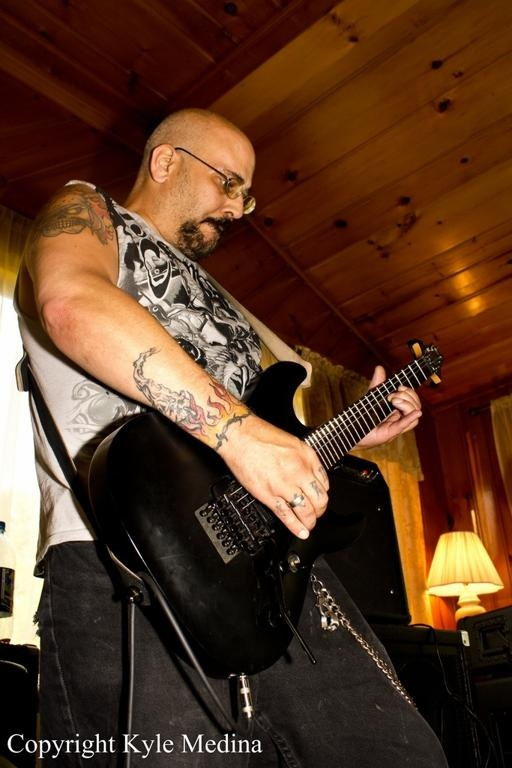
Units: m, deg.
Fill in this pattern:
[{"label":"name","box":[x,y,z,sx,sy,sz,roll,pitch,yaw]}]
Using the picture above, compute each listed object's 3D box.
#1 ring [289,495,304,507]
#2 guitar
[{"label":"ring","box":[0.053,0.156,0.819,0.017,0.005,0.017,54,8,-11]},{"label":"guitar","box":[0.054,0.181,1.111,0.369,0.088,0.801,51,31,13]}]
